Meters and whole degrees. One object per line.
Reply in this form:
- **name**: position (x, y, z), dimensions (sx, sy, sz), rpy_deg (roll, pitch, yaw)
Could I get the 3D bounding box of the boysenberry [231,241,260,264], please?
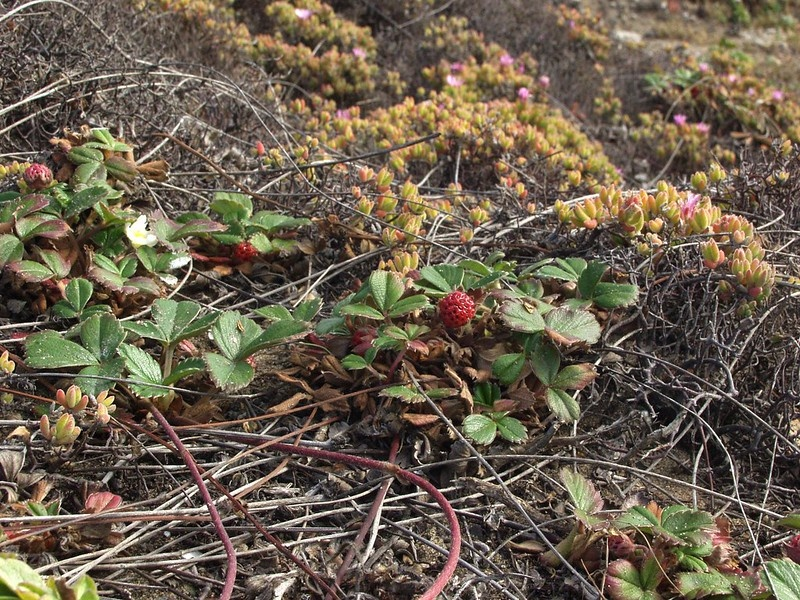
- **boysenberry**: position (-0.803, -0.245, 4.157), dimensions (0.111, 0.104, 0.105), rpy_deg (2, 7, 21)
